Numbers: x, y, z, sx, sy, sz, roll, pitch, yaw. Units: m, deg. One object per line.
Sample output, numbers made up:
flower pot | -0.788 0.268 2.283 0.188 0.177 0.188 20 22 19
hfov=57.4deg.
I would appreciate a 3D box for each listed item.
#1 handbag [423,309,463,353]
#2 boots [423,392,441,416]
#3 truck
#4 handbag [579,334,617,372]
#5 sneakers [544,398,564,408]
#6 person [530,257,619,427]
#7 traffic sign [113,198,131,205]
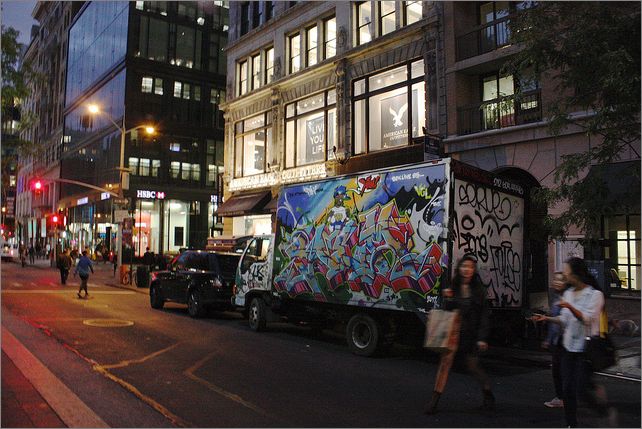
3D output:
handbag | 2.493 2.310 12.520 0.796 0.426 1.112 1 -52 -2
boots | 2.408 4.000 12.560 0.487 0.487 0.243 -1 5 -29
truck | 1.272 1.548 18.458 8.992 5.329 4.431 -2 -7 44
handbag | 5.740 2.824 12.005 0.487 0.902 0.852 -26 -26 28
sneakers | 5.177 4.141 12.954 0.432 0.212 0.171 -4 -9 17
person | 5.268 2.673 11.930 1.273 3.506 0.767 3 5 23
traffic sign | -12.125 -0.796 35.564 0.832 0.351 0.118 3 5 23
